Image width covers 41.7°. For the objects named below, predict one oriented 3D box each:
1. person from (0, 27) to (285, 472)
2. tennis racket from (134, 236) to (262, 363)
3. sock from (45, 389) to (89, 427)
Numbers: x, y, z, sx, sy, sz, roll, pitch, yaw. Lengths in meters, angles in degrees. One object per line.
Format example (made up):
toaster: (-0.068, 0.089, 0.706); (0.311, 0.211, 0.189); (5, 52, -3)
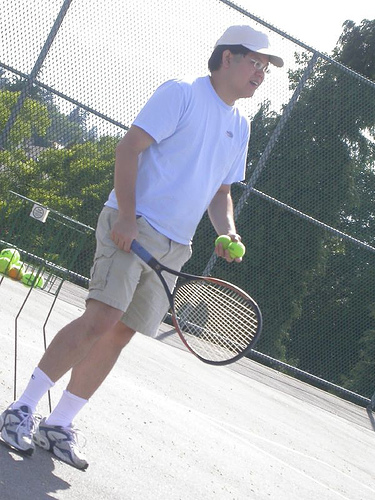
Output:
person: (-0.105, -0.092, 2.035); (0.597, 1.879, 0.863); (21, -2, 8)
tennis racket: (-0.003, 0.211, 2.109); (0.052, 0.295, 0.765); (-5, 48, -48)
sock: (-0.450, 0.596, 1.825); (0.114, 0.150, 0.050); (23, -2, -7)
